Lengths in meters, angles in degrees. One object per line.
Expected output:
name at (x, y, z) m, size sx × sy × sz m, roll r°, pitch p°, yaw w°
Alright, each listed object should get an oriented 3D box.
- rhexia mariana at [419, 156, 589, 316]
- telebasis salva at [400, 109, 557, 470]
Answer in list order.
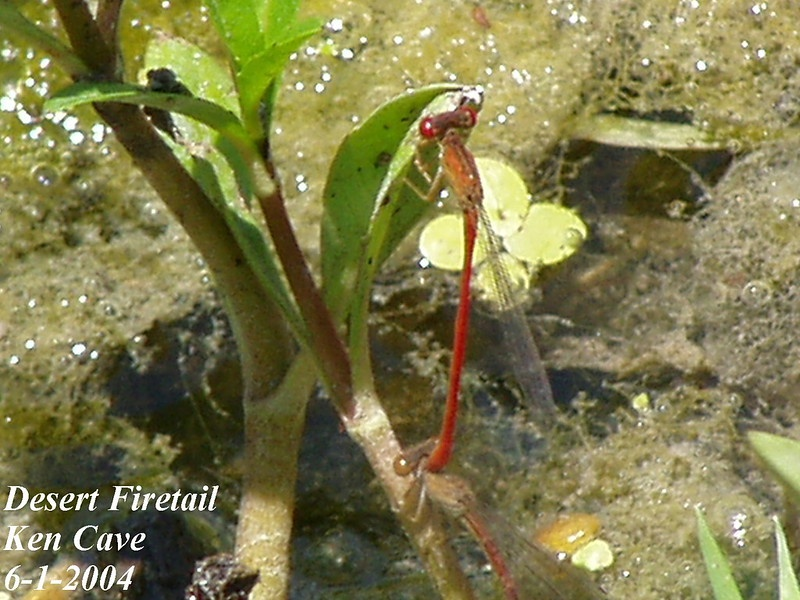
rhexia mariana at (0.149, -0.045, 1.095) m, size 0.151 × 0.028 × 0.202 m, roll -17°, pitch 71°, yaw -8°
telebasis salva at (0.082, -0.012, 0.937) m, size 0.113 × 0.350 × 0.101 m, roll 10°, pitch 27°, yaw 19°
